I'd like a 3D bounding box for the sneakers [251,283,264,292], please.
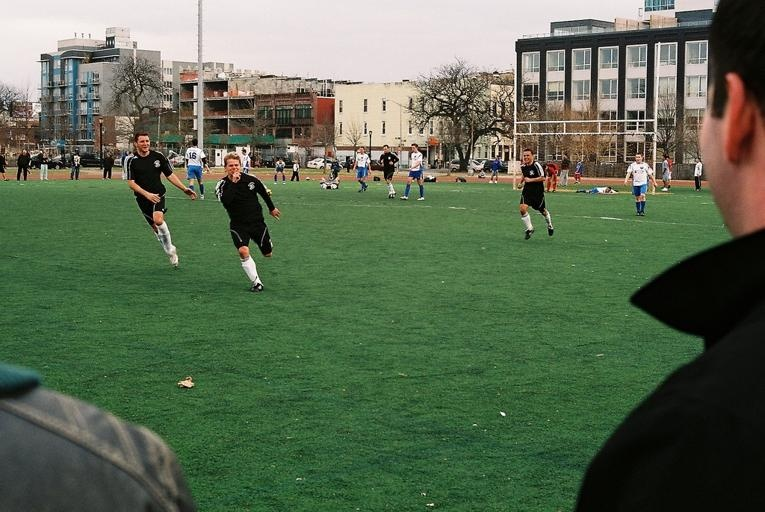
[{"bbox_3d":[-1.892,0.456,10.870,0.192,0.123,0.256,-2,7,-10],"label":"sneakers"}]
